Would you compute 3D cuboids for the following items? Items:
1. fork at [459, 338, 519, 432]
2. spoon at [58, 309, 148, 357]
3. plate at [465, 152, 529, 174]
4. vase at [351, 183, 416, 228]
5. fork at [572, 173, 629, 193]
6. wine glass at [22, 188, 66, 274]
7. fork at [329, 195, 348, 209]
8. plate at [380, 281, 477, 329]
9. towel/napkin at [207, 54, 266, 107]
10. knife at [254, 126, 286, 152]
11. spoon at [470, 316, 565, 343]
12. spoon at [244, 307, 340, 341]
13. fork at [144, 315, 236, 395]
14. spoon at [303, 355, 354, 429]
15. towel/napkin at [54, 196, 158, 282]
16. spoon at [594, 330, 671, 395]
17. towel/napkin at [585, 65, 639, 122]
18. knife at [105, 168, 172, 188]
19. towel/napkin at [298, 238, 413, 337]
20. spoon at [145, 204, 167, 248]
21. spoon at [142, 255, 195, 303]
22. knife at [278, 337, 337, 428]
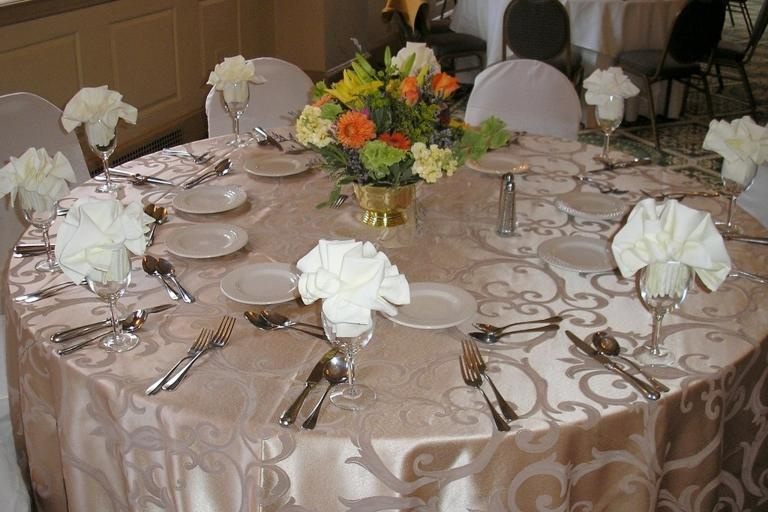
[{"bbox_3d":[0.247,0.307,1.421,0.066,0.034,0.237,-9,54,-23],"label":"fork"},{"bbox_3d":[-0.700,0.181,1.577,0.300,0.055,0.070,-22,21,-40],"label":"spoon"},{"bbox_3d":[0.444,-0.365,2.326,0.162,0.023,0.170,2,29,4],"label":"plate"},{"bbox_3d":[0.002,-0.196,2.034,0.211,0.147,0.225,1,18,-1],"label":"vase"},{"bbox_3d":[0.826,-0.275,2.237,0.072,0.005,0.187,-29,38,-32],"label":"fork"},{"bbox_3d":[-1.020,-0.072,1.753,0.103,0.277,0.113,-18,42,-42],"label":"wine glass"},{"bbox_3d":[-0.161,-0.201,2.145,0.026,0.008,0.100,13,35,12],"label":"fork"},{"bbox_3d":[0.140,0.141,1.616,0.146,0.022,0.152,-5,34,-10],"label":"plate"},{"bbox_3d":[-0.655,-0.766,2.634,0.219,0.208,0.229,-9,15,-6],"label":"towel/napkin"},{"bbox_3d":[-0.510,-0.518,2.578,0.070,0.039,0.236,-18,41,-18],"label":"knife"},{"bbox_3d":[0.347,0.196,1.564,0.278,0.042,0.089,-6,26,1],"label":"spoon"},{"bbox_3d":[-0.241,0.180,1.515,0.217,0.031,0.041,17,62,7],"label":"spoon"},{"bbox_3d":[-0.479,0.255,1.474,0.074,0.043,0.295,11,49,28],"label":"fork"},{"bbox_3d":[-0.136,0.329,1.350,0.059,0.039,0.289,3,31,12],"label":"spoon"},{"bbox_3d":[-0.698,-0.049,1.443,0.225,0.173,0.143,-6,32,-10],"label":"towel/napkin"},{"bbox_3d":[0.601,0.252,1.484,0.060,0.042,0.273,-12,30,-19],"label":"spoon"},{"bbox_3d":[0.890,-0.651,2.402,0.210,0.170,0.216,-12,36,-16],"label":"towel/napkin"},{"bbox_3d":[-0.961,-0.320,2.276,0.356,0.058,0.098,13,22,33],"label":"knife"},{"bbox_3d":[-0.068,0.068,1.280,0.232,0.188,0.154,-5,32,-7],"label":"towel/napkin"},{"bbox_3d":[-0.734,-0.092,1.888,0.050,0.026,0.175,2,39,3],"label":"spoon"},{"bbox_3d":[-0.646,0.062,1.732,0.085,0.043,0.286,-8,30,-29],"label":"spoon"},{"bbox_3d":[-0.165,0.320,1.448,0.051,0.037,0.317,13,26,18],"label":"knife"}]
